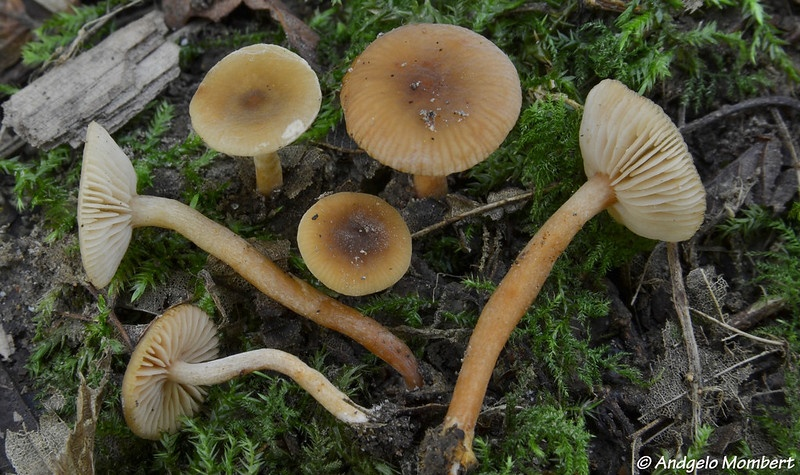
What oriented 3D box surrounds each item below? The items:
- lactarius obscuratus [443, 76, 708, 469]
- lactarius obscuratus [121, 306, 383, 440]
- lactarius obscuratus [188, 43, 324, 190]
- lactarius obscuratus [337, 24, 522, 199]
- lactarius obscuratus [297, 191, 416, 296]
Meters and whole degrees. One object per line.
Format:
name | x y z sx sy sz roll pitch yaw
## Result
lactarius obscuratus | 1.707 0.445 6.190 3.227 1.703 1.558 -51 39 -2
lactarius obscuratus | -1.465 1.609 6.149 2.094 1.118 1.294 15 44 16
lactarius obscuratus | -1.432 -1.176 6.517 1.062 1.247 1.223 -10 72 -10
lactarius obscuratus | 0.302 -1.140 6.660 1.318 1.357 1.532 -11 69 -6
lactarius obscuratus | -0.444 0.085 6.432 0.991 0.272 0.974 -37 80 -16
